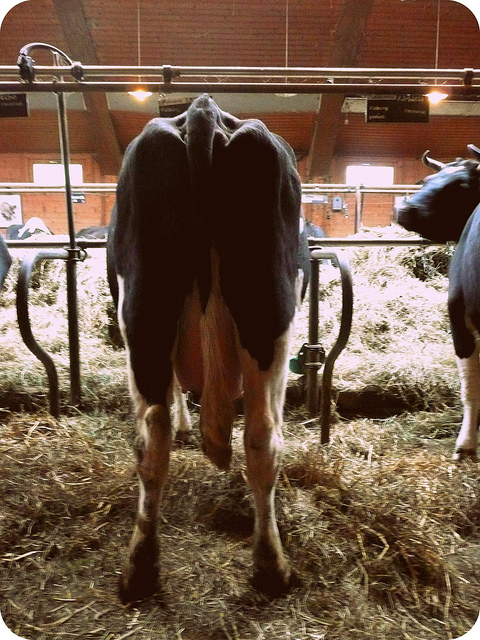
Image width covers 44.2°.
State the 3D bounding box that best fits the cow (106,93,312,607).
[{"bbox_3d":[-0.079,0.056,1.679,0.544,1.348,0.452,-1,11,-9],"label":"cow"}]
